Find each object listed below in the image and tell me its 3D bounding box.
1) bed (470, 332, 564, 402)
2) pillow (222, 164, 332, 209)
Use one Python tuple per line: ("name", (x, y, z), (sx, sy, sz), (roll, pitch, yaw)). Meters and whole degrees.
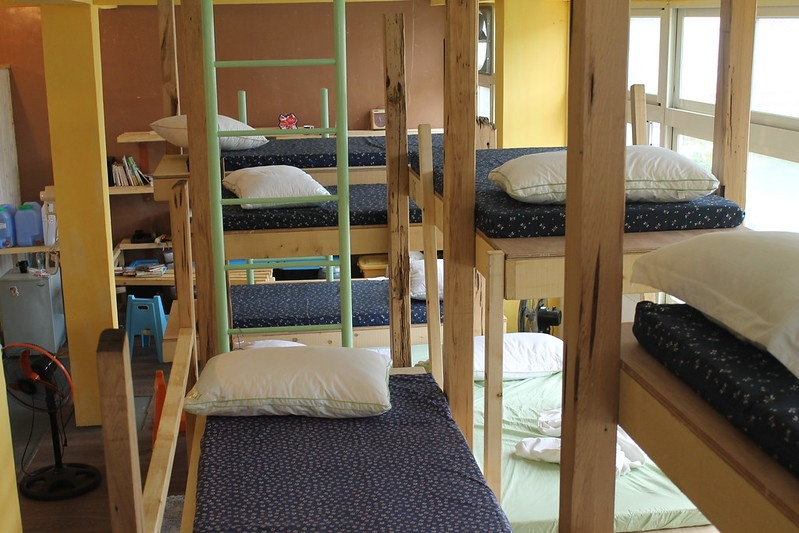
("bed", (1.060, 0.878, 5.872), (0.637, 0.174, 0.566), (-2, 16, -5))
("pillow", (-0.810, -0.550, 4.447), (0.439, 0.148, 0.475), (-6, 27, -23))
